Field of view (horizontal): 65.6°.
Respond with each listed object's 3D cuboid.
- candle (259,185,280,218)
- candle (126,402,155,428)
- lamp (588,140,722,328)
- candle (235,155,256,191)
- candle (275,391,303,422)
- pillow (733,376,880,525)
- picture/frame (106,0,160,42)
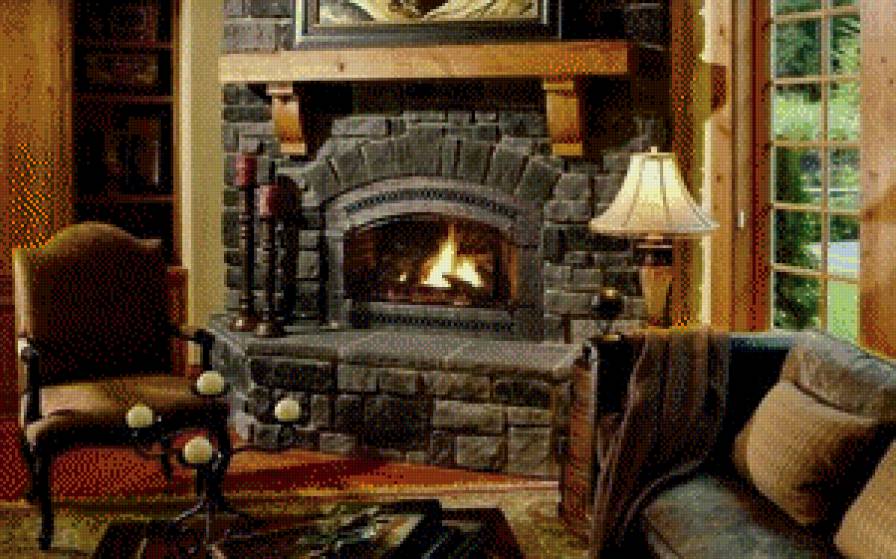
[{"bbox_3d":[-1.154,-0.509,4.483,0.128,0.195,0.127,-2,15,-10],"label":"candle"},{"bbox_3d":[-1.150,0.517,2.595,0.081,0.116,0.140,-5,16,-19],"label":"candle"},{"bbox_3d":[1.115,-0.156,3.734,0.712,1.001,0.658,-2,7,-3],"label":"lamp"},{"bbox_3d":[-1.315,-0.709,4.525,0.130,0.184,0.133,11,12,41],"label":"candle"},{"bbox_3d":[-0.614,0.500,2.687,0.091,0.104,0.154,-3,15,-12],"label":"candle"},{"bbox_3d":[1.421,0.685,2.701,0.250,0.386,0.518,7,7,-16],"label":"pillow"},{"bbox_3d":[-2.339,-1.927,5.136,0.366,0.325,0.028,1,4,-1],"label":"picture/frame"}]
